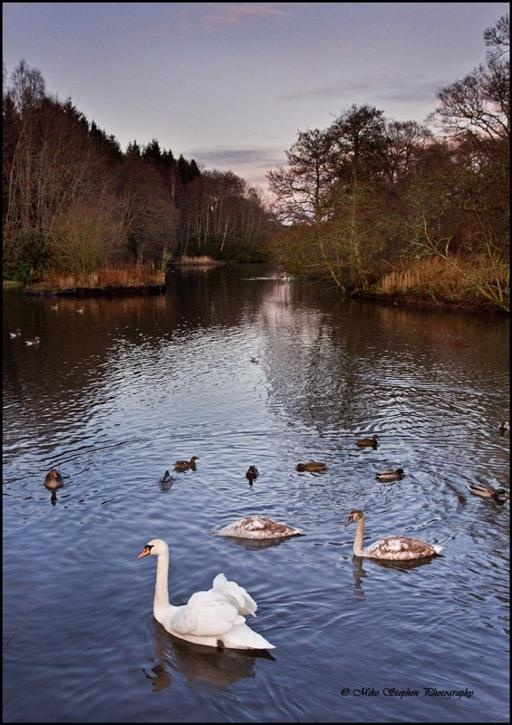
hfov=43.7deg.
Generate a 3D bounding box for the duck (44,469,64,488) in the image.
[{"bbox_3d":[-3.990,2.262,12.524,0.245,0.319,0.440,1,17,-13],"label":"duck"}]

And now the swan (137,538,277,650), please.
[{"bbox_3d":[-0.403,2.963,7.893,1.937,1.142,0.778,7,7,36],"label":"swan"}]

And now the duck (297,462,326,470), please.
[{"bbox_3d":[1.127,2.190,13.323,0.456,0.187,0.239,-4,-11,14],"label":"duck"}]

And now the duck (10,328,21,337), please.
[{"bbox_3d":[-12.461,-1.513,32.958,0.399,0.478,0.655,8,8,-46],"label":"duck"}]

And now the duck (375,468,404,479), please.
[{"bbox_3d":[2.689,2.276,12.875,0.426,0.280,0.235,3,0,-1],"label":"duck"}]

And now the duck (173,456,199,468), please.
[{"bbox_3d":[-1.492,2.157,13.600,0.520,0.358,0.198,-1,5,-27],"label":"duck"}]

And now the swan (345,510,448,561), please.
[{"bbox_3d":[2.015,2.806,9.849,1.489,0.581,1.709,1,6,0],"label":"swan"}]

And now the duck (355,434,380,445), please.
[{"bbox_3d":[2.614,1.852,15.059,0.385,0.263,0.246,2,10,0],"label":"duck"}]
